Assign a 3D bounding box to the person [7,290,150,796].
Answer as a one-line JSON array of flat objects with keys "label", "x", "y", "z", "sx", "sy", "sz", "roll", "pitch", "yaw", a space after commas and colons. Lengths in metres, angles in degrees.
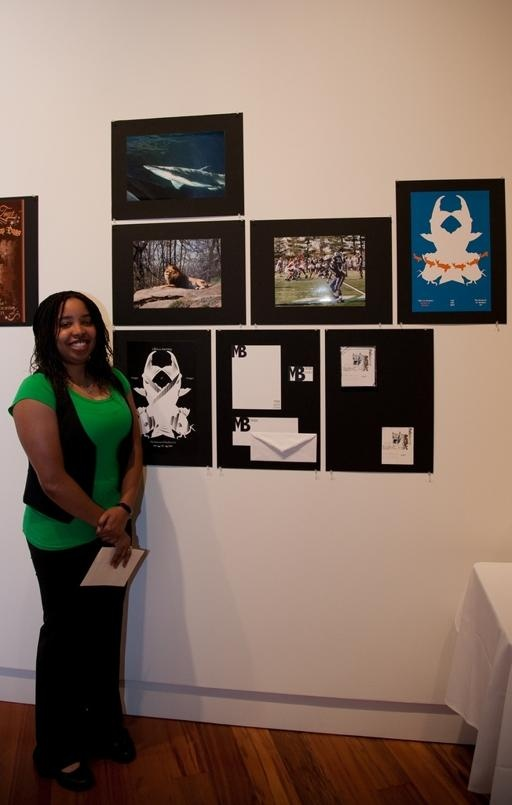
[{"label": "person", "x": -0.521, "y": 0.404, "z": 1.867, "sx": 0.384, "sy": 1.450, "sz": 0.386, "roll": -4, "pitch": 11, "yaw": -22}]
